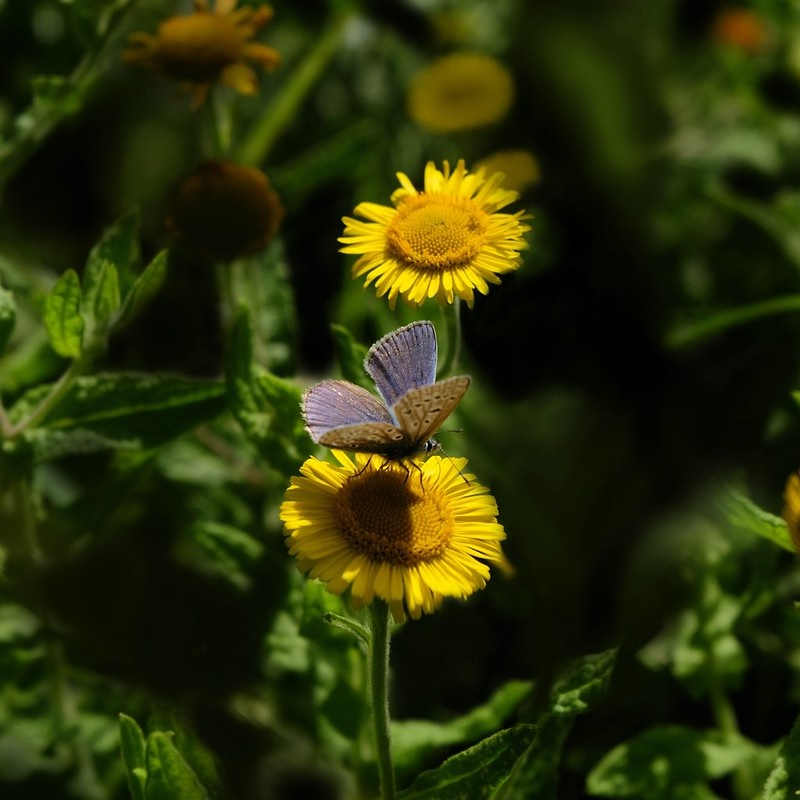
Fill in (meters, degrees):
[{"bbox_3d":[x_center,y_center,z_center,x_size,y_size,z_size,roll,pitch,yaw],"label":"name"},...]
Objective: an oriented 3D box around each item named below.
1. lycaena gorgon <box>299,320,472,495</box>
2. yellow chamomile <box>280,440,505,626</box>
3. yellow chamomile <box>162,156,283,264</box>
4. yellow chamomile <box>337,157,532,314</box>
[{"bbox_3d":[-0.010,0.015,0.784,0.126,0.172,0.116,13,103,9],"label":"lycaena gorgon"},{"bbox_3d":[-0.005,0.110,0.803,0.191,0.053,0.193,-4,35,-22],"label":"yellow chamomile"},{"bbox_3d":[-0.187,-0.200,1.018,0.113,0.046,0.105,26,79,7],"label":"yellow chamomile"},{"bbox_3d":[0.019,-0.154,0.893,0.186,0.188,0.072,-10,77,-24],"label":"yellow chamomile"}]
